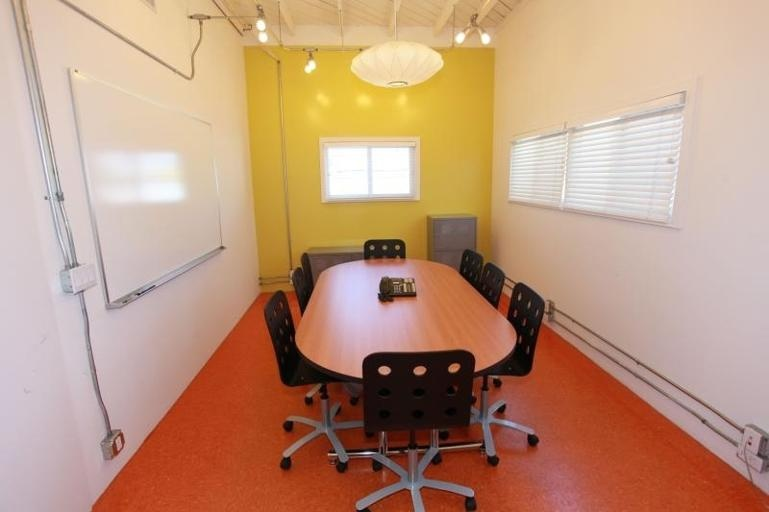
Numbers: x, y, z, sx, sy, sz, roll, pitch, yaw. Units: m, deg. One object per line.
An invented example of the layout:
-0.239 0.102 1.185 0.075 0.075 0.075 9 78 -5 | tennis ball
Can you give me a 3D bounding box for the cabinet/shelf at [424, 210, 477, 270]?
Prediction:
0.989 -0.025 7.124 0.635 0.931 0.481 -1 -13 10 | cabinet/shelf
